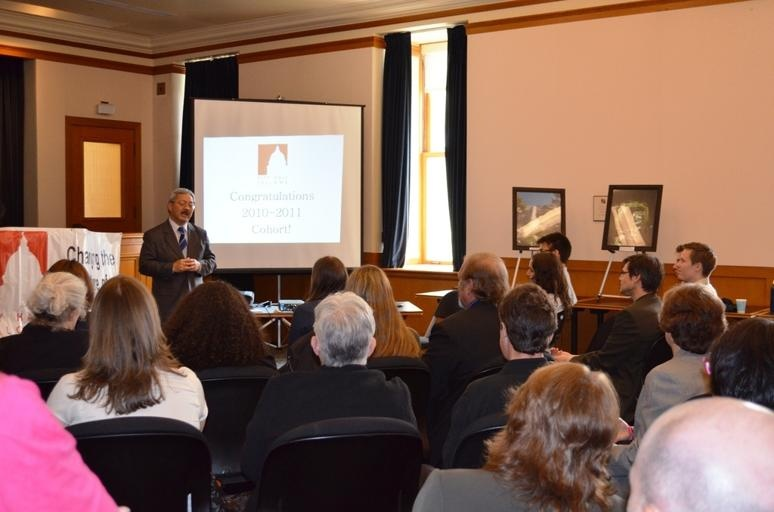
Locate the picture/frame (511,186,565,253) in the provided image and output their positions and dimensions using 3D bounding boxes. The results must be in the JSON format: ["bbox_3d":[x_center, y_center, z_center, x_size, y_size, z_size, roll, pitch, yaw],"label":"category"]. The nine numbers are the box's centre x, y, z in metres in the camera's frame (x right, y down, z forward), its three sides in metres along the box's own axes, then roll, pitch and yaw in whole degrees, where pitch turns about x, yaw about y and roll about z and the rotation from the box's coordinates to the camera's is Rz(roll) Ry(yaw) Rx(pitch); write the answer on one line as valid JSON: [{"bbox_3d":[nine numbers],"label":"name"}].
[{"bbox_3d":[1.535,-0.368,5.930,0.631,0.750,0.051,1,-7,-4],"label":"picture/frame"}]

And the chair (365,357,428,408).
[{"bbox_3d":[0.029,0.584,2.843,0.236,0.324,0.241,0,9,-4],"label":"chair"}]

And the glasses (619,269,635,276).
[{"bbox_3d":[1.661,0.110,4.062,0.108,0.035,0.114,1,-3,-15],"label":"glasses"}]

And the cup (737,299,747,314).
[{"bbox_3d":[2.945,0.422,4.882,0.104,0.113,0.100,0,1,0],"label":"cup"}]
